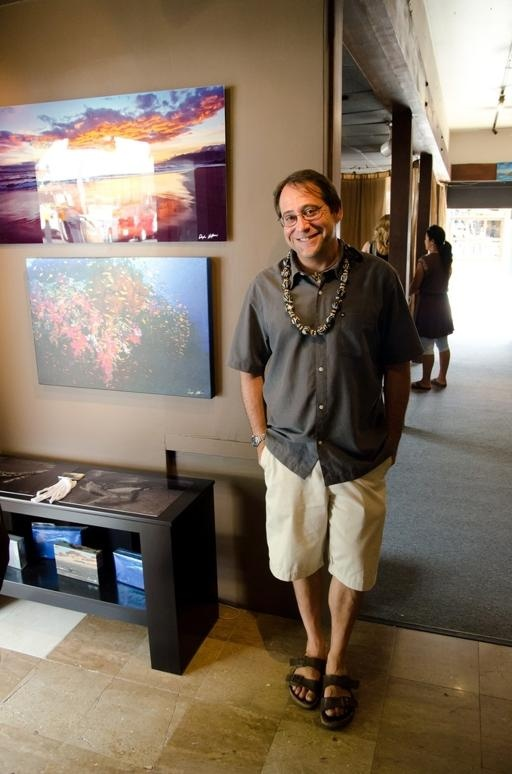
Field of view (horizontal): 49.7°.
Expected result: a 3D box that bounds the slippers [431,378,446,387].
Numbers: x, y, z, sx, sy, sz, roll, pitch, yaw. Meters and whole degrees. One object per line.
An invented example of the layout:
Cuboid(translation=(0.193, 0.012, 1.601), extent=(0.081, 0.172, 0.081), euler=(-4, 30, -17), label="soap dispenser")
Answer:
Cuboid(translation=(1.842, -0.052, 5.633), extent=(0.073, 0.107, 0.157), euler=(-2, 24, -2), label="slippers")

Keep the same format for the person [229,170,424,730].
Cuboid(translation=(0.210, 0.170, 1.747), extent=(0.443, 1.606, 0.486), euler=(-10, 13, -34), label="person")

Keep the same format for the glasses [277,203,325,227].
Cuboid(translation=(0.115, -0.467, 1.518), extent=(0.133, 0.053, 0.061), euler=(8, 15, 42), label="glasses")

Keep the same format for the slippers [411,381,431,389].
Cuboid(translation=(1.641, -0.025, 5.526), extent=(0.159, 0.064, 0.083), euler=(8, 17, 27), label="slippers")

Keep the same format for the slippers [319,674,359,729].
Cuboid(translation=(0.255, 0.936, 1.710), extent=(0.105, 0.100, 0.295), euler=(-2, 0, 10), label="slippers")

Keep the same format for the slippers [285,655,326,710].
Cuboid(translation=(0.156, 0.917, 1.730), extent=(0.070, 0.070, 0.176), euler=(2, 5, 15), label="slippers")

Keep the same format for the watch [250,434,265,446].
Cuboid(translation=(0.004, 0.169, 1.760), extent=(0.033, 0.026, 0.044), euler=(0, -1, 4), label="watch")

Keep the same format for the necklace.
Cuboid(translation=(0.156, -0.270, 1.562), extent=(0.207, 0.240, 0.180), euler=(0, 11, 14), label="necklace")
